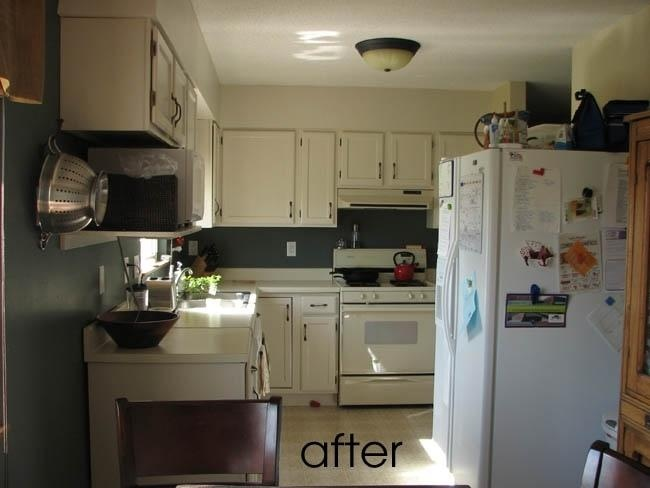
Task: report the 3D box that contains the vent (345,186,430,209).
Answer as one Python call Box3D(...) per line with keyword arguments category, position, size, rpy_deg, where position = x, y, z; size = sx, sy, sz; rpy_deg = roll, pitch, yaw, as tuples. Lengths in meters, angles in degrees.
Box3D(category="vent", position=(0.512, -0.391, 4.565), size=(0.829, 0.163, 0.170), rpy_deg=(0, 8, 2))

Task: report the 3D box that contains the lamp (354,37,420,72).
Box3D(category="lamp", position=(0.423, -1.273, 3.624), size=(0.445, 0.180, 0.230), rpy_deg=(0, 9, 1))

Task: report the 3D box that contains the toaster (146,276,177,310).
Box3D(category="toaster", position=(-0.990, 0.290, 3.280), size=(0.163, 0.242, 0.172), rpy_deg=(1, 3, -3))

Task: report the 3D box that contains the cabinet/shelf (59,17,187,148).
Box3D(category="cabinet/shelf", position=(-0.875, -0.749, 2.566), size=(0.357, 0.526, 0.724), rpy_deg=(3, 9, 19))

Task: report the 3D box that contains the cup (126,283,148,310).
Box3D(category="cup", position=(-1.056, 0.292, 3.029), size=(0.111, 0.149, 0.187), rpy_deg=(-3, 9, -20))

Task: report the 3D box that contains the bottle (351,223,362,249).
Box3D(category="bottle", position=(0.278, -0.083, 4.901), size=(0.070, 0.214, 0.064), rpy_deg=(0, 8, 2))

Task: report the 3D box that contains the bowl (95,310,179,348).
Box3D(category="bowl", position=(-0.932, 0.422, 2.735), size=(0.239, 0.090, 0.241), rpy_deg=(2, -3, 0))

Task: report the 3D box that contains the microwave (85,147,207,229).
Box3D(category="microwave", position=(-0.865, -0.358, 2.672), size=(0.380, 0.354, 0.551), rpy_deg=(0, 1, -2))

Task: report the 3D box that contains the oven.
Box3D(category="oven", position=(0.465, 0.879, 4.726), size=(0.896, 0.920, 0.730), rpy_deg=(2, 0, -5))
